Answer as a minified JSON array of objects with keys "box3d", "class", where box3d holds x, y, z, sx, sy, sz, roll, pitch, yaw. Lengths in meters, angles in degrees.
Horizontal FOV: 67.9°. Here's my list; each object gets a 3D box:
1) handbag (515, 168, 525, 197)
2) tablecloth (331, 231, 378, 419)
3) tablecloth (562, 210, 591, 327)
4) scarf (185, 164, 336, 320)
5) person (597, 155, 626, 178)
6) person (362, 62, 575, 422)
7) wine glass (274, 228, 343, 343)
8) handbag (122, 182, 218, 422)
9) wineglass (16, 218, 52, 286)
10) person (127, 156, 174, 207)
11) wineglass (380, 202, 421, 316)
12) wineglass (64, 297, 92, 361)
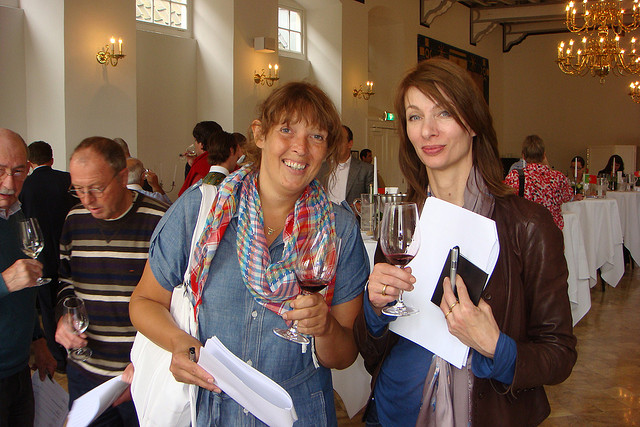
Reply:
[{"box3d":[1.715,-0.274,4.109,0.074,0.297,0.302,-1,8,17],"class":"handbag"},{"box3d":[0.273,0.928,3.757,0.244,1.157,1.075,3,-11,-14],"class":"tablecloth"},{"box3d":[2.874,0.631,5.383,0.301,1.214,0.869,3,7,28],"class":"tablecloth"},{"box3d":[-0.135,0.071,2.280,0.549,0.184,0.681,-15,25,-32],"class":"scarf"},{"box3d":[5.730,-0.967,9.400,0.399,0.379,1.249,4,8,30],"class":"person"},{"box3d":[0.646,0.156,2.189,0.880,1.708,0.550,0,6,0],"class":"person"},{"box3d":[-0.036,0.213,2.083,0.176,0.290,0.219,-5,8,-41],"class":"wine glass"},{"box3d":[-0.656,0.391,2.148,0.420,1.044,0.324,-2,6,-21],"class":"handbag"},{"box3d":[-1.646,0.216,2.737,0.148,0.374,0.372,-4,7,-33],"class":"wineglass"},{"box3d":[-1.880,-0.254,5.287,0.272,0.291,0.971,-21,-17,-14],"class":"person"},{"box3d":[0.347,0.208,2.066,0.179,0.506,0.180,1,6,8],"class":"wineglass"},{"box3d":[-1.352,0.636,2.661,0.122,0.365,0.156,-3,6,-25],"class":"wineglass"}]
